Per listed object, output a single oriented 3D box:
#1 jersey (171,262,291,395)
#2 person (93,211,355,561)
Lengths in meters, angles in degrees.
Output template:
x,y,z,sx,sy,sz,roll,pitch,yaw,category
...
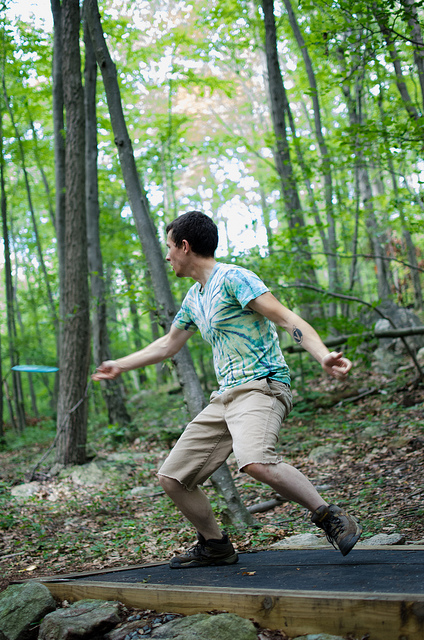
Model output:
x,y,z,sx,sy,sz,roll,pitch,yaw,category
0.145,0.032,3.742,0.324,0.763,0.631,-15,1,-38,jersey
0.075,0.360,3.693,0.748,2.067,1.406,-15,1,-35,person
